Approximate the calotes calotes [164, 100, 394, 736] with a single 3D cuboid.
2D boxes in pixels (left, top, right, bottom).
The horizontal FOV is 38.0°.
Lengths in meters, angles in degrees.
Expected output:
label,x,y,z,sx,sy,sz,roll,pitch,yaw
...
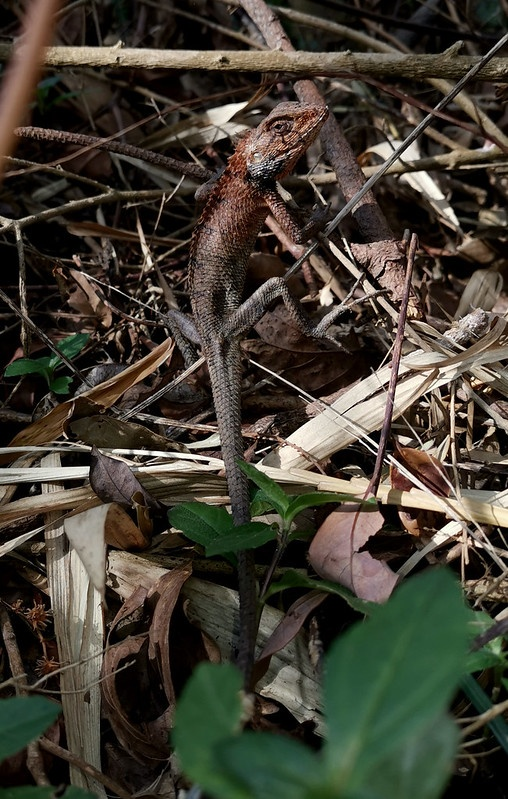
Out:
label,x,y,z,sx,sy,sz,roll,pitch,yaw
calotes calotes,-0.057,-0.145,2.373,0.541,1.791,0.460,-1,-7,22
